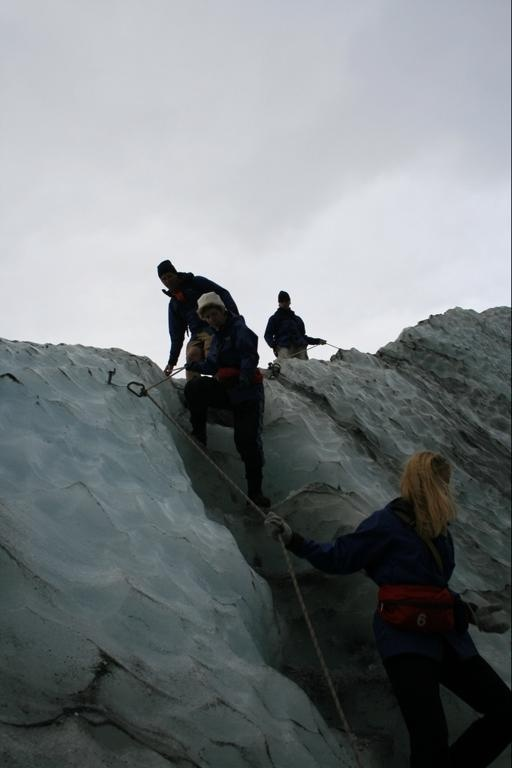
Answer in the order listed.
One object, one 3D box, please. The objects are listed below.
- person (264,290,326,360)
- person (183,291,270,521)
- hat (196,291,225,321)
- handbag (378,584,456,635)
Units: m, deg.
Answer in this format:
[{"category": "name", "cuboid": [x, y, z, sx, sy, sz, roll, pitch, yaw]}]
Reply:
[{"category": "person", "cuboid": [0.469, -0.483, 7.963, 0.673, 1.336, 0.363, -1, -16, -7]}, {"category": "person", "cuboid": [-0.193, 0.085, 4.148, 0.516, 1.461, 0.862, -5, -25, -5]}, {"category": "hat", "cuboid": [-0.299, -0.524, 4.260, 0.191, 0.141, 0.186, -20, 15, 5]}, {"category": "handbag", "cuboid": [0.563, 0.778, 2.266, 0.263, 0.177, 0.140, -10, -25, 6]}]
